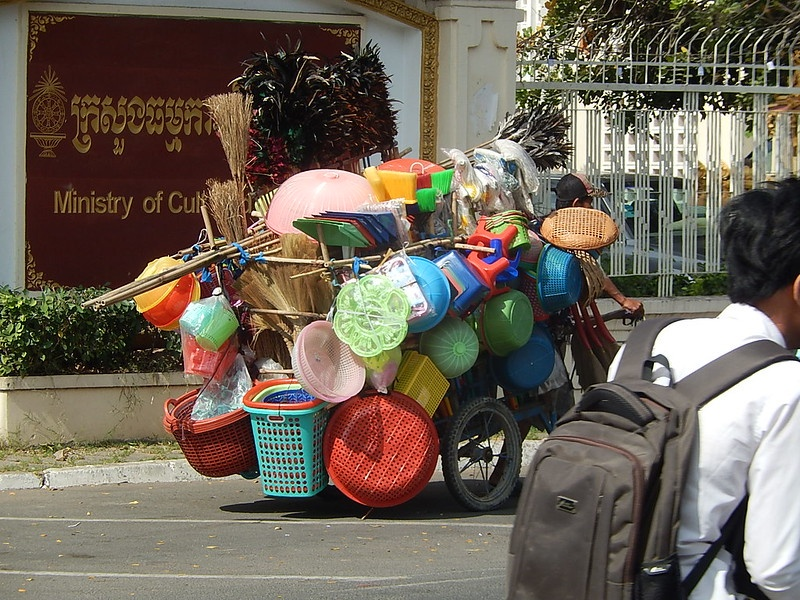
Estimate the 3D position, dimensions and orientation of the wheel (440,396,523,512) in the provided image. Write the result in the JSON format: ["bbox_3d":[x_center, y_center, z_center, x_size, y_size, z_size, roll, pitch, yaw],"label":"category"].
[{"bbox_3d":[0.555,1.065,7.309,0.168,0.739,0.696,7,16,38],"label":"wheel"}]

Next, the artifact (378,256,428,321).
[{"bbox_3d":[0.023,-0.095,6.637,0.278,0.415,0.097,-32,-13,6],"label":"artifact"}]

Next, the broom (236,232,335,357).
[{"bbox_3d":[-0.776,-0.010,7.112,0.600,0.860,0.374,10,8,15],"label":"broom"}]

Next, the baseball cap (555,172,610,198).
[{"bbox_3d":[1.445,-0.925,8.333,0.376,0.196,0.242,-8,10,-10],"label":"baseball cap"}]
